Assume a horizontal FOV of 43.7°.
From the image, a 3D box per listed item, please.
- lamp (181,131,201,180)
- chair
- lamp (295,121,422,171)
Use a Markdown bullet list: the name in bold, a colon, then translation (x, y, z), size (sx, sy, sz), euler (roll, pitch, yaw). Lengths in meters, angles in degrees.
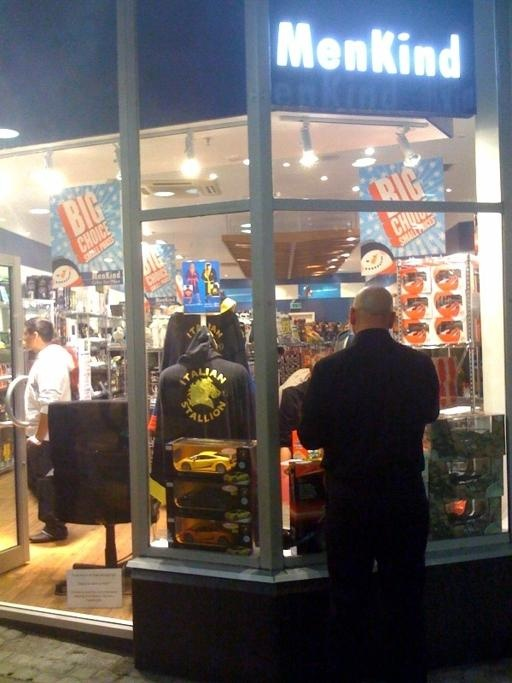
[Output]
- **lamp**: translation (-0.295, -0.838, 2.860), size (0.087, 0.185, 0.081), euler (-3, -1, -3)
- **chair**: translation (-0.863, 0.837, 3.619), size (0.579, 0.949, 0.632), euler (-7, -12, 16)
- **lamp**: translation (0.417, -0.827, 2.806), size (0.623, 0.231, 0.195), euler (-2, -6, -5)
